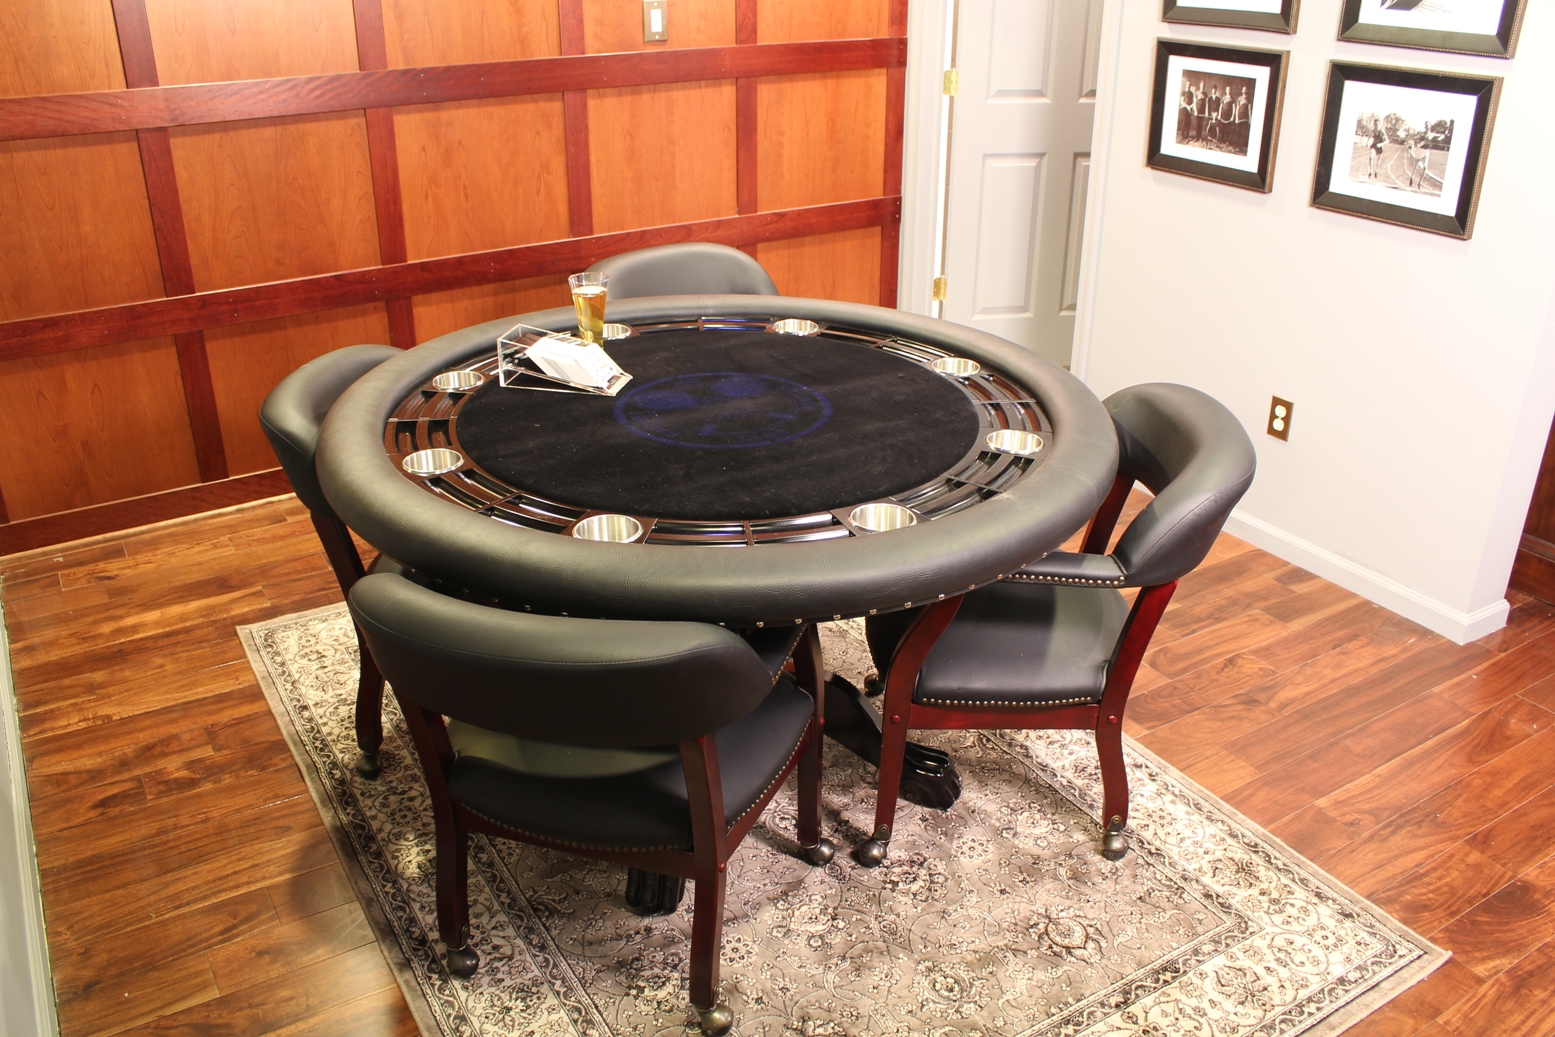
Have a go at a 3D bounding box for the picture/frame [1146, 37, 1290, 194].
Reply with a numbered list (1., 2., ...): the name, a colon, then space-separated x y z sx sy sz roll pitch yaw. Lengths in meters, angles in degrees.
1. picture/frame: 1.559 -1.438 3.933 0.689 0.515 0.054 26 38 34

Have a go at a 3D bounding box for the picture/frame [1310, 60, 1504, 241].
1. picture/frame: 1.976 -1.166 3.489 0.715 0.519 0.058 27 38 36

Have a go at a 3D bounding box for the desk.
1. desk: -0.144 0.051 2.935 1.895 0.867 1.304 -4 31 -9

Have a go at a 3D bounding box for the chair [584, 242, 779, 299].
1. chair: -0.311 -0.831 3.784 0.598 0.143 0.317 -3 29 -7
